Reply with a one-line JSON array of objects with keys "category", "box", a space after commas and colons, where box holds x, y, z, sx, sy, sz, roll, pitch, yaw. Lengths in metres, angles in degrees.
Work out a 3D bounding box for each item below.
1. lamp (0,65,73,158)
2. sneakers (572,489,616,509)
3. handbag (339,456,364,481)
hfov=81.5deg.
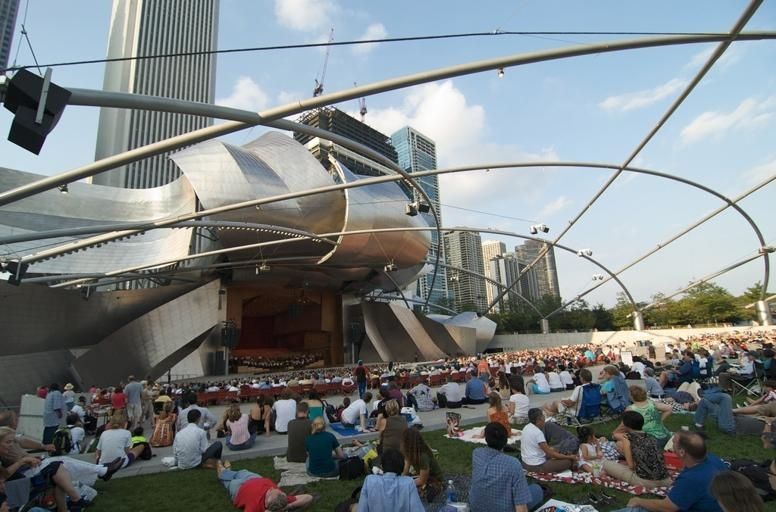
[{"category": "lamp", "box": [-6.329, -2.576, 8.076, 0.963, 1.793, 0.706, 7, -23, -34]}, {"category": "sneakers", "box": [3.768, 4.498, 8.286, 0.429, 0.106, 0.324, -13, -15, 43]}, {"category": "handbag", "box": [-0.803, 4.618, 9.695, 0.335, 0.313, 0.548, -9, -12, 30]}]
